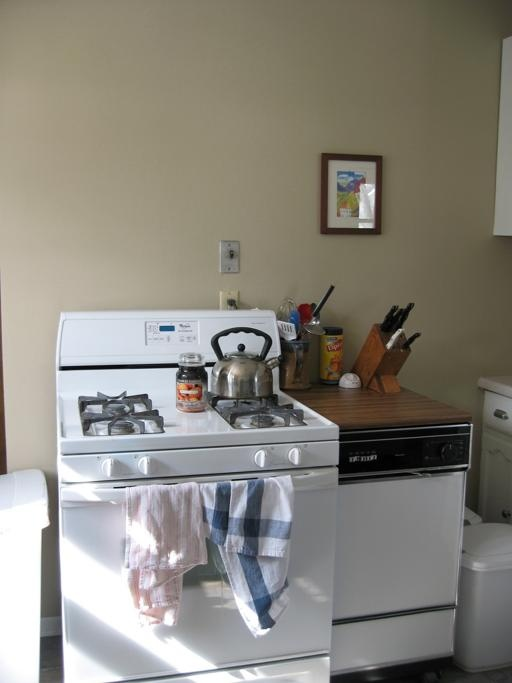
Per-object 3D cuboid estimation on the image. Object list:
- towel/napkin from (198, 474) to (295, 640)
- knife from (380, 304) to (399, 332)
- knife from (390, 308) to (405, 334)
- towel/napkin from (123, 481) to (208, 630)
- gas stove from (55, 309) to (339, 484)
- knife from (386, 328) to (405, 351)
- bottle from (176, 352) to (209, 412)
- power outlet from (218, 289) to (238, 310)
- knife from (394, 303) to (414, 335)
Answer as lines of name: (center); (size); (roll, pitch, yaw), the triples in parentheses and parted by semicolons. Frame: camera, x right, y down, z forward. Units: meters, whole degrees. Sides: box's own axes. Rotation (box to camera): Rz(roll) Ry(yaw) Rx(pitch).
towel/napkin: (-0.021, 0.516, 1.330); (0.215, 0.429, 0.148); (0, 8, -5)
knife: (0.459, -0.078, 2.006); (0.026, 0.109, 0.033); (32, 23, 26)
knife: (0.471, -0.063, 1.928); (0.024, 0.101, 0.029); (16, 28, -8)
towel/napkin: (-0.189, 0.453, 1.227); (0.178, 0.279, 0.063); (-1, -9, -4)
gas stove: (-0.207, 0.159, 1.671); (0.720, 0.410, 0.515); (-2, 18, -23)
knife: (0.443, -0.005, 1.894); (0.025, 0.105, 0.034); (35, 48, 16)
bottle: (-0.184, 0.115, 1.606); (0.089, 0.154, 0.104); (0, 8, -2)
power outlet: (-0.104, -0.149, 2.030); (0.077, 0.086, 0.009); (0, 2, -9)
knife: (0.518, -0.086, 2.048); (0.041, 0.139, 0.046); (24, 51, 6)
